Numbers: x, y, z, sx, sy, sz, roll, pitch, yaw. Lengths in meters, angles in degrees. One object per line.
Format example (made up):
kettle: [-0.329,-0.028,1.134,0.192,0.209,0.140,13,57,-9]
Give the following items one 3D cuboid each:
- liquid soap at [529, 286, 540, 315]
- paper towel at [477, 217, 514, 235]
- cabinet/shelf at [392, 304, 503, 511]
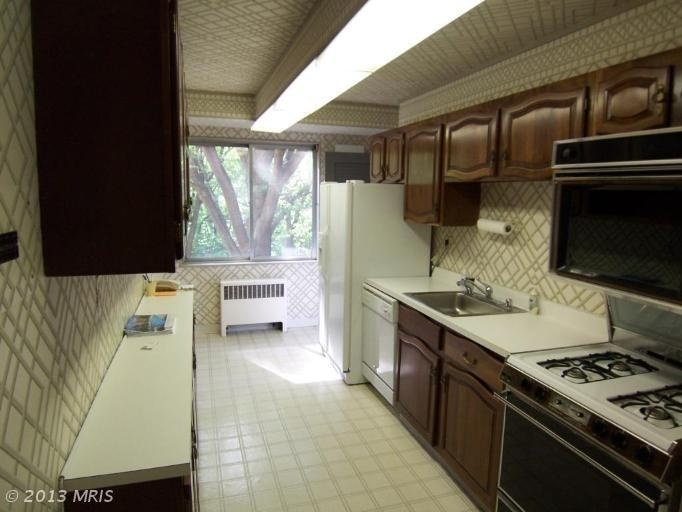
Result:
liquid soap: [1.254,0.282,3.068,0.052,0.162,0.118,-2,12,2]
paper towel: [1.082,-0.204,3.336,0.154,0.123,0.373,-6,12,-13]
cabinet/shelf: [0.666,0.957,2.906,0.491,0.850,0.984,0,10,-14]
